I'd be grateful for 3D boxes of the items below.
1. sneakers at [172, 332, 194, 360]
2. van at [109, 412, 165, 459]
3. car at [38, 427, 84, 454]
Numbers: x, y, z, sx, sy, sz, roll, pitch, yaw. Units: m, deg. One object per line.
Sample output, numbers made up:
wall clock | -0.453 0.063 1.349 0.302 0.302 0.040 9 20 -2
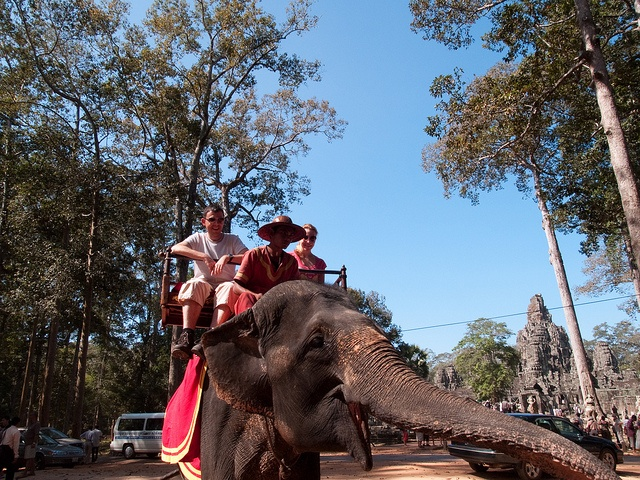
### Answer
sneakers | -1.354 1.028 4.391 0.134 0.187 0.398 -3 -22 11
van | -8.739 9.313 21.677 3.048 2.223 1.118 1 8 33
car | -11.179 8.584 19.617 2.186 0.805 1.039 -3 -24 20
